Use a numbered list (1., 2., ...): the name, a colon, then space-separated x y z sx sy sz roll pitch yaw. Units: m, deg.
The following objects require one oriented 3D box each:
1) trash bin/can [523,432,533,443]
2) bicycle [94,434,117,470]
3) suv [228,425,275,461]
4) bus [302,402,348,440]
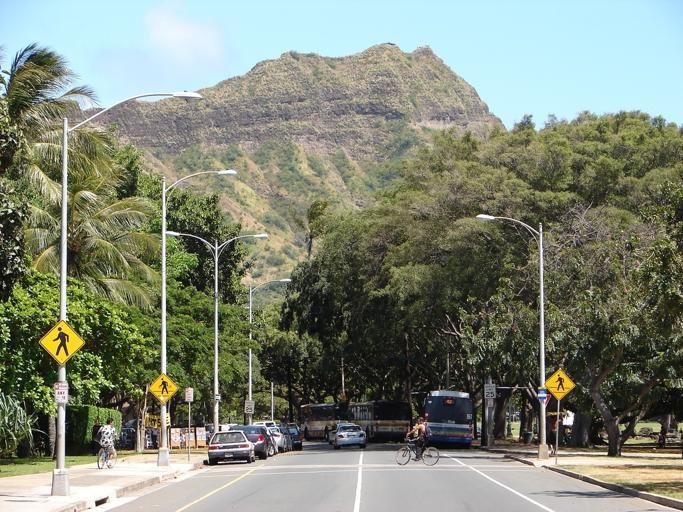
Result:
1. trash bin/can: 14.014 13.752 78.955 0.644 0.829 0.645 11 -17 -42
2. bicycle: -11.006 9.295 48.537 0.557 0.998 1.370 3 -1 12
3. suv: -4.600 10.196 57.613 1.115 1.254 3.108 0 -1 3
4. bus: -1.019 14.970 95.331 2.138 3.844 6.725 1 -4 -22
